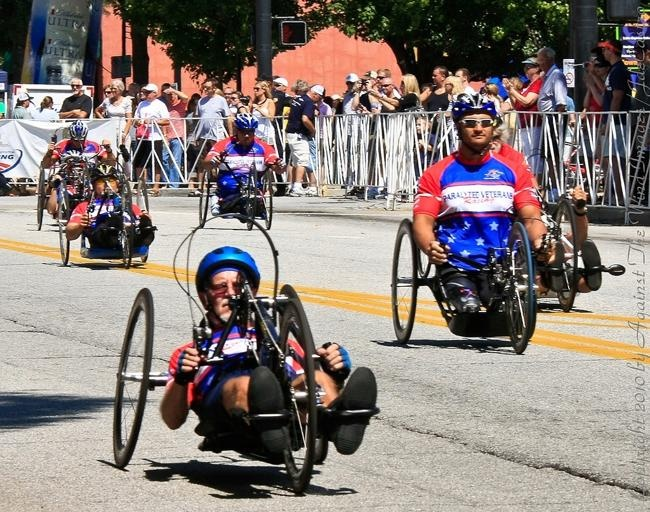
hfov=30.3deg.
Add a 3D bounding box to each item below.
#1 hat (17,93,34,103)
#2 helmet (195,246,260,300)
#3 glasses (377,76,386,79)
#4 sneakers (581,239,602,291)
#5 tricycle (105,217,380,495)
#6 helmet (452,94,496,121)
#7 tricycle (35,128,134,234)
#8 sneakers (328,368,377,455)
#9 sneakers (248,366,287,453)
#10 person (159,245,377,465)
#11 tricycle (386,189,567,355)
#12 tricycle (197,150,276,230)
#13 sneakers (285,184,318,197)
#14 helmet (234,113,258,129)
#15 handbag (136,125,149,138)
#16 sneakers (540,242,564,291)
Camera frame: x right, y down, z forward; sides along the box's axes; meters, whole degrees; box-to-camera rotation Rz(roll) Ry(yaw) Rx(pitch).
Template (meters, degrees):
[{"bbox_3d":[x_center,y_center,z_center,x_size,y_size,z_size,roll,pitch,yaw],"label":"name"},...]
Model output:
[{"bbox_3d":[-6.634,-3.488,26.654,0.477,0.195,0.306,-8,12,-42],"label":"hat"},{"bbox_3d":[-0.452,0.081,5.638,0.229,0.225,0.200,3,5,-2],"label":"helmet"},{"bbox_3d":[1.020,-3.157,21.367,0.115,0.028,0.096,2,0,-12],"label":"glasses"},{"bbox_3d":[2.248,0.067,9.872,0.110,0.348,0.205,-12,-1,-24],"label":"sneakers"},{"bbox_3d":[-0.202,0.542,5.606,1.061,0.906,1.625,2,-5,-23],"label":"tricycle"},{"bbox_3d":[1.100,-1.093,8.875,0.337,0.206,0.236,2,2,4],"label":"helmet"},{"bbox_3d":[-3.338,-1.148,15.843,1.291,1.153,2.267,0,0,-11],"label":"tricycle"},{"bbox_3d":[0.130,0.683,5.269,0.173,0.403,0.182,25,-15,-15],"label":"sneakers"},{"bbox_3d":[-0.254,0.670,5.265,0.159,0.351,0.159,-11,-5,-16],"label":"sneakers"},{"bbox_3d":[-0.311,0.459,5.553,0.860,0.640,1.234,5,-10,-18],"label":"person"},{"bbox_3d":[1.015,0.220,8.742,0.560,0.951,1.486,1,3,-35],"label":"tricycle"},{"bbox_3d":[-1.277,-0.817,16.885,1.176,0.864,1.653,3,-14,-16],"label":"tricycle"},{"bbox_3d":[-0.495,-1.292,24.363,0.662,0.219,0.208,-1,5,-2],"label":"sneakers"},{"bbox_3d":[-1.095,-1.824,16.419,0.300,0.223,0.332,2,2,-5],"label":"helmet"},{"bbox_3d":[-3.746,-2.536,24.654,0.307,0.228,0.270,3,-6,-28],"label":"handbag"},{"bbox_3d":[1.803,0.111,9.530,0.213,0.509,0.226,2,-11,7],"label":"sneakers"}]
